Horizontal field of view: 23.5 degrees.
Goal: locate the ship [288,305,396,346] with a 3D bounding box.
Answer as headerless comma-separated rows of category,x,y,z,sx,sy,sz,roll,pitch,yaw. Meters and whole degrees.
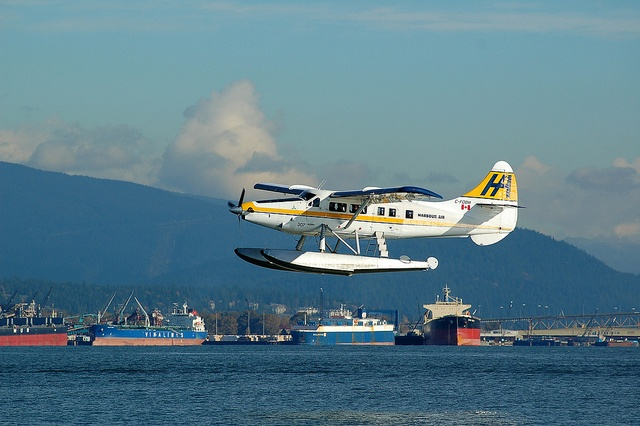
ship,7.313,30.644,394.121,28.797,9.375,9.442,1,-2,-21

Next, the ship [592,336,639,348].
ship,78.190,34.894,412.912,11.521,2.909,25.933,0,-6,9

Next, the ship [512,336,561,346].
ship,57.366,34.938,414.323,12.421,2.903,27.863,0,-6,9
